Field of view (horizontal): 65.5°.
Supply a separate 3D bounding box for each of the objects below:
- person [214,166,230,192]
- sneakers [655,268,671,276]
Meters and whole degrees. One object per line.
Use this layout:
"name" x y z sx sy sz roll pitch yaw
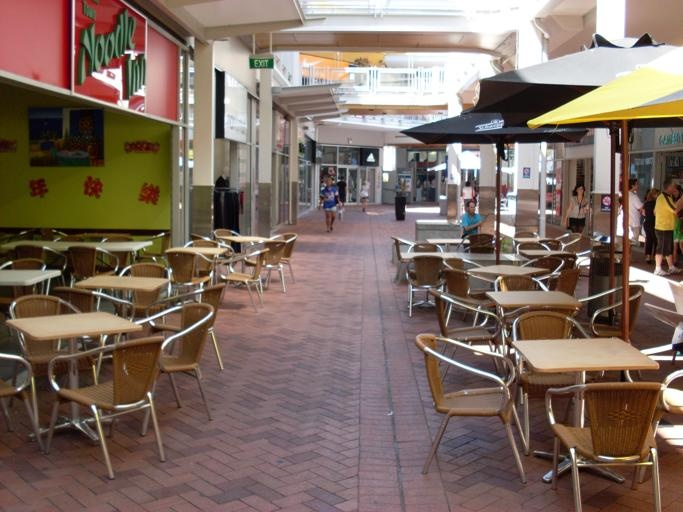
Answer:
"person" -2.985 -1.887 13.264 0.366 0.573 0.938 -1 8 -13
"sneakers" 7.641 0.387 12.644 0.279 0.191 0.108 -6 10 -15
